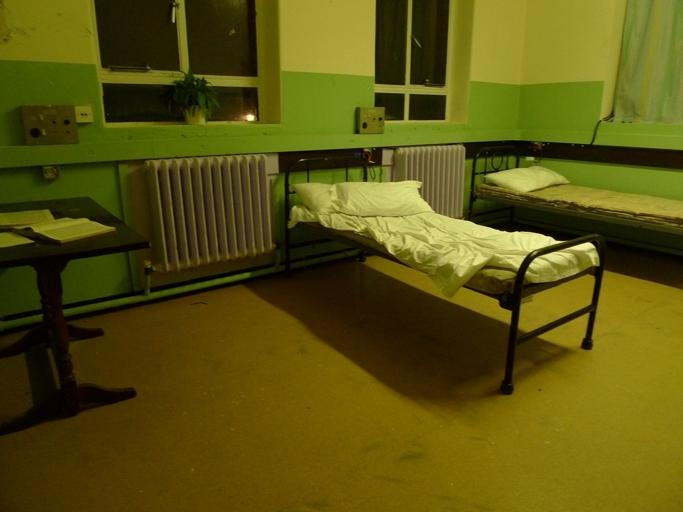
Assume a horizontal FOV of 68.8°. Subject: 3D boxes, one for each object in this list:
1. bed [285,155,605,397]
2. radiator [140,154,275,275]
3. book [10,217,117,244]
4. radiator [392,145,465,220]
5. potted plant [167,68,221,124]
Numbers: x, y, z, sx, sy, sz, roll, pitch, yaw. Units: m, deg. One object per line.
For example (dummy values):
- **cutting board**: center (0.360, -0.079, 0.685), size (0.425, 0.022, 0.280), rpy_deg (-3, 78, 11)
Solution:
- **bed**: center (0.790, 0.001, 3.678), size (0.916, 0.927, 1.814), rpy_deg (-17, 31, -32)
- **radiator**: center (-1.076, -0.347, 3.888), size (0.917, 0.789, 0.291), rpy_deg (-9, 18, -34)
- **book**: center (-1.501, -0.137, 2.682), size (0.458, 0.044, 0.351), rpy_deg (13, 24, 34)
- **radiator**: center (1.115, -0.762, 5.210), size (0.184, 0.823, 0.846), rpy_deg (-30, 20, -22)
- **potted plant**: center (-1.193, -1.252, 3.962), size (0.335, 0.322, 0.356), rpy_deg (-1, 26, -15)
